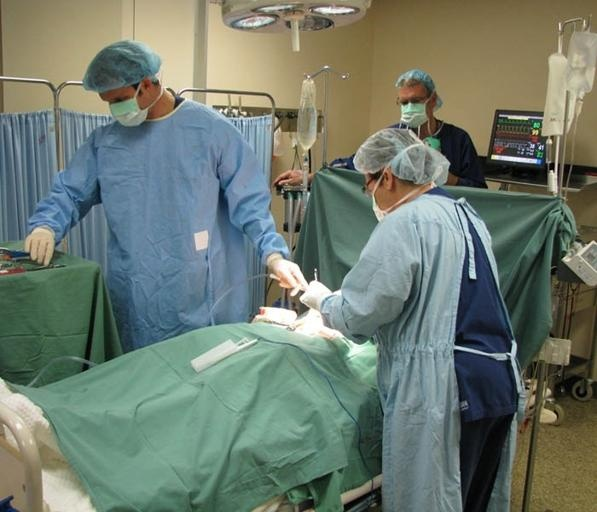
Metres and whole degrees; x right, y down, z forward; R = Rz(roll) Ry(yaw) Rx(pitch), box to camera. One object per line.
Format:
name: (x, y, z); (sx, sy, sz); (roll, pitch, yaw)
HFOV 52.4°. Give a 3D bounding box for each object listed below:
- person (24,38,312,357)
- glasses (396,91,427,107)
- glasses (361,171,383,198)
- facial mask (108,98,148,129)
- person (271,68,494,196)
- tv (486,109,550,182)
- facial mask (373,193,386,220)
person: (-0.555, -0.105, 2.620); (0.962, 1.759, 0.723); (1, 37, -12)
glasses: (0.574, -0.785, 3.044); (0.158, 0.064, 0.133); (2, 12, 17)
glasses: (0.264, -0.249, 2.102); (0.057, 0.018, 0.064); (-24, -21, -32)
facial mask: (-0.646, -0.535, 2.308); (0.087, 0.076, 0.105); (11, 52, 43)
person: (0.735, -0.675, 3.323); (0.753, 0.641, 0.567); (-10, 15, -38)
tv: (1.342, -0.715, 3.702); (0.323, 0.439, 0.166); (10, 56, 22)
facial mask: (0.282, -0.176, 2.188); (0.049, 0.108, 0.071); (4, 3, 29)
